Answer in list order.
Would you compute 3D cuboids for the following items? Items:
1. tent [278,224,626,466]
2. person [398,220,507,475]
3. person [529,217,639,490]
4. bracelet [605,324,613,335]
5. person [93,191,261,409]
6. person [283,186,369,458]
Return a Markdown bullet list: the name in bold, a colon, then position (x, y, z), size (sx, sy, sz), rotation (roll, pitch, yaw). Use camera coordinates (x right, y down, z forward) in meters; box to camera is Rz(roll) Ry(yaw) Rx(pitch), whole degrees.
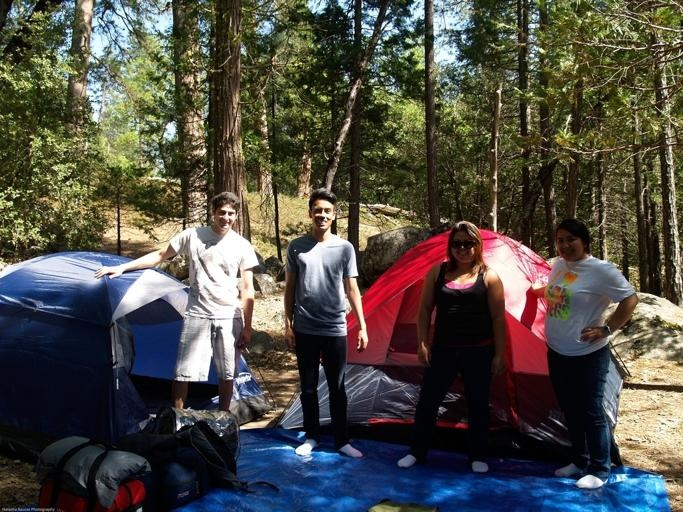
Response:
- **tent**: position (1.351, 1.183, 7.485), size (2.772, 1.639, 2.940), rotation (1, 1, 16)
- **person**: position (1.153, 0.917, 6.065), size (0.901, 2.460, 0.591), rotation (4, 10, 17)
- **person**: position (2.302, 0.918, 5.845), size (0.815, 2.459, 0.612), rotation (7, 11, 32)
- **bracelet**: position (2.489, 0.695, 5.718), size (0.054, 0.091, 0.081), rotation (-25, -36, 8)
- **person**: position (-1.544, 0.479, 6.575), size (1.262, 2.289, 0.576), rotation (0, 10, -9)
- **person**: position (-0.166, 0.694, 6.293), size (0.842, 2.709, 0.547), rotation (2, 9, 1)
